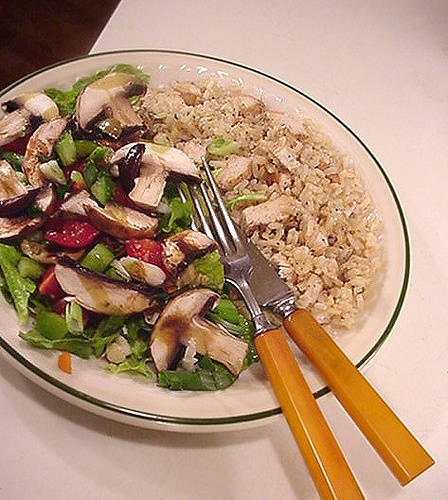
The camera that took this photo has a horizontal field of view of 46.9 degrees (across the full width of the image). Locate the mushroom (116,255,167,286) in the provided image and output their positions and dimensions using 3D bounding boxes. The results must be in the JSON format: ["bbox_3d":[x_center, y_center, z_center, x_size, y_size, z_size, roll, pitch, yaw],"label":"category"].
[{"bbox_3d":[-0.176,0.045,1.104,0.112,0.026,0.050,18,51,-40],"label":"mushroom"}]

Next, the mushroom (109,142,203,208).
[{"bbox_3d":[-0.176,-0.174,1.220,0.195,0.057,0.163,-23,79,-20],"label":"mushroom"}]

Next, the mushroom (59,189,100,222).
[{"bbox_3d":[-0.318,-0.100,1.146,0.066,0.035,0.064,26,60,1],"label":"mushroom"}]

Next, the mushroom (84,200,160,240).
[{"bbox_3d":[-0.230,-0.068,1.173,0.120,0.098,0.037,20,94,-24],"label":"mushroom"}]

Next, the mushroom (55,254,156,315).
[{"bbox_3d":[-0.265,0.096,1.107,0.224,0.079,0.074,22,61,-1],"label":"mushroom"}]

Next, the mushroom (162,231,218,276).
[{"bbox_3d":[-0.066,-0.001,1.151,0.160,0.044,0.183,0,20,-3],"label":"mushroom"}]
